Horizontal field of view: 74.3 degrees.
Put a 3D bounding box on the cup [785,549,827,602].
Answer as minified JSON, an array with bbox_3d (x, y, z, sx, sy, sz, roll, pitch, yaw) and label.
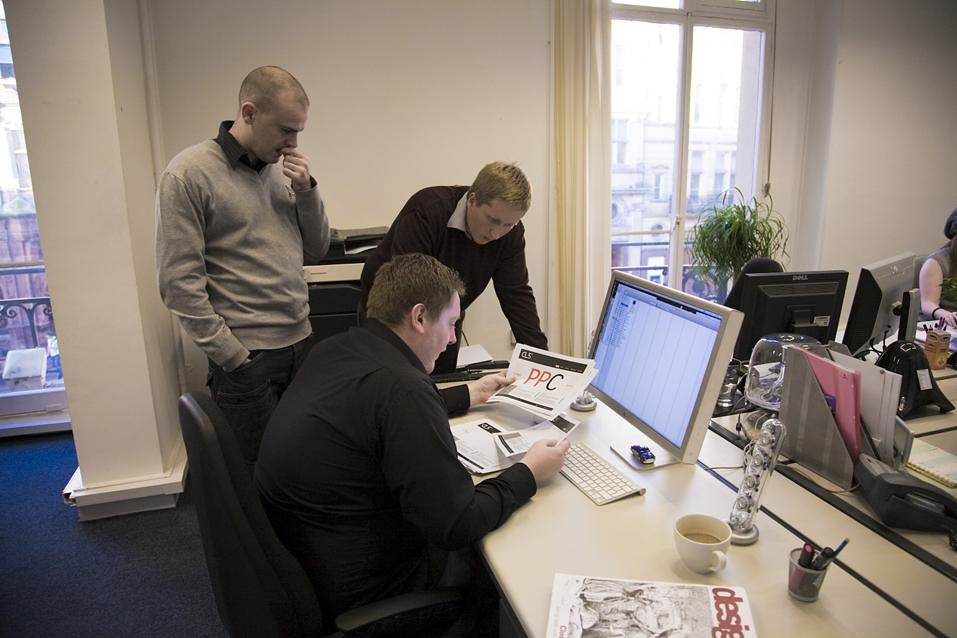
[{"bbox_3d":[1.030,0.837,2.046,0.138,0.128,0.155,4,4,10],"label":"cup"}]

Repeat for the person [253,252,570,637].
[{"bbox_3d":[-0.370,0.298,2.950,1.345,2.166,1.150,-9,25,-24],"label":"person"}]

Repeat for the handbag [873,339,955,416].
[{"bbox_3d":[1.909,0.266,2.761,0.241,0.231,0.244,-10,15,-11],"label":"handbag"}]

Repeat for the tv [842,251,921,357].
[{"bbox_3d":[2.073,-0.032,3.217,0.508,0.504,0.174,-15,27,-34],"label":"tv"}]

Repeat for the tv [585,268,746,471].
[{"bbox_3d":[0.765,0.242,2.611,0.286,0.772,0.793,-11,21,-22],"label":"tv"}]

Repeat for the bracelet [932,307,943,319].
[{"bbox_3d":[2.757,-0.043,3.803,0.027,0.078,0.057,15,-7,26],"label":"bracelet"}]

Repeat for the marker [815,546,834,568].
[{"bbox_3d":[1.097,0.760,2.011,0.033,0.089,0.023,26,3,15],"label":"marker"}]

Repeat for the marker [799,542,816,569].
[{"bbox_3d":[1.048,0.753,2.011,0.057,0.067,0.040,1,13,12],"label":"marker"}]

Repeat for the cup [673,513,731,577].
[{"bbox_3d":[0.749,0.784,2.117,0.175,0.153,0.218,0,13,2],"label":"cup"}]

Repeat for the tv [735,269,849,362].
[{"bbox_3d":[1.434,-0.012,2.910,0.395,0.401,0.145,0,18,-8],"label":"tv"}]
